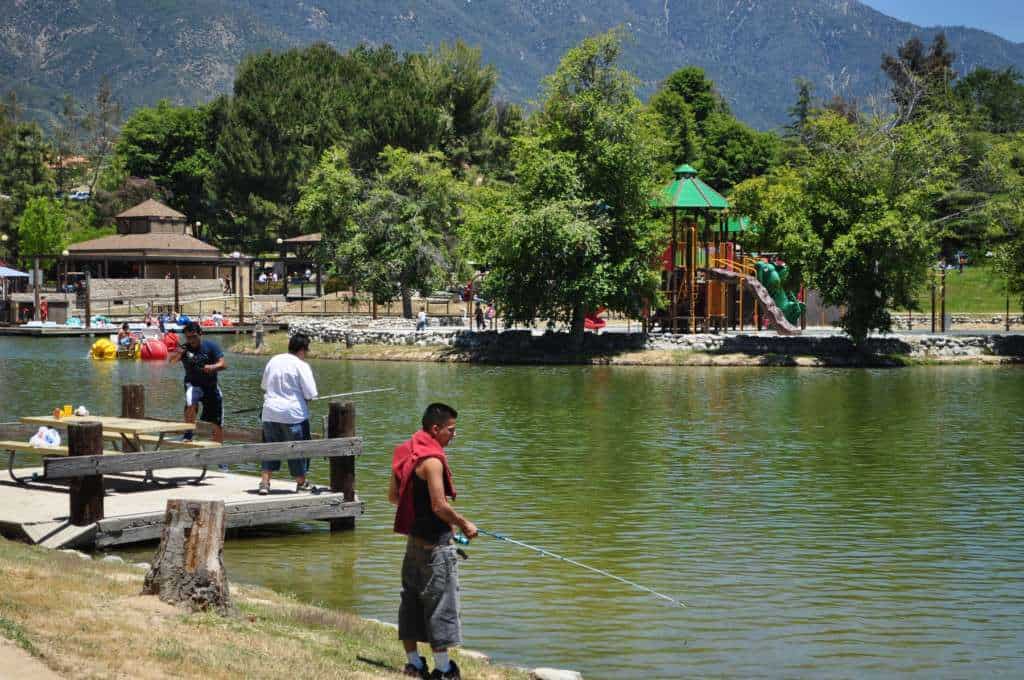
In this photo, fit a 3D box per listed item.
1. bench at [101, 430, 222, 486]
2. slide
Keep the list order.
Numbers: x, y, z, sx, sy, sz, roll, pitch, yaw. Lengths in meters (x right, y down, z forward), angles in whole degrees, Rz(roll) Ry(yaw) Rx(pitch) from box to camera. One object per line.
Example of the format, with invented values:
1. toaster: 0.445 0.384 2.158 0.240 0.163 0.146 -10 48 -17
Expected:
1. bench: -13.008 4.438 70.969 3.719 2.039 1.315 1 -2 28
2. slide: 14.252 -2.358 112.008 5.535 4.526 5.763 -2 -2 17
